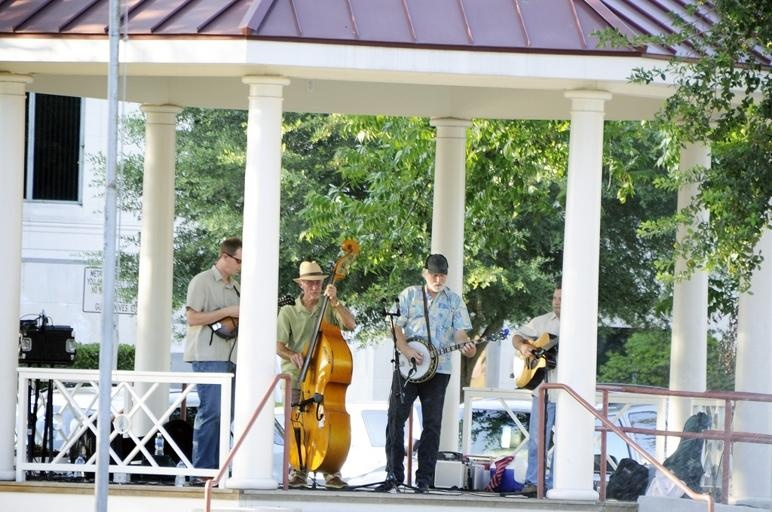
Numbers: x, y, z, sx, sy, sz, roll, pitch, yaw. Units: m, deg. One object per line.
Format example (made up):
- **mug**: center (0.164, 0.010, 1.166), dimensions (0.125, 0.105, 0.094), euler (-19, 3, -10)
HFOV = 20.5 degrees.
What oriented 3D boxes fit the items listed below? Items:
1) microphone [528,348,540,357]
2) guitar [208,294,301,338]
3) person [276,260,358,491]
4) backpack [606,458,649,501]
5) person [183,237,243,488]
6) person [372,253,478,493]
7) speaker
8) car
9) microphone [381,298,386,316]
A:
- **microphone**: center (2.009, 1.237, 28.491), dimensions (0.128, 0.100, 0.042), euler (0, -2, 31)
- **guitar**: center (-1.729, 0.747, 27.713), dimensions (0.554, 0.431, 0.808), euler (4, 15, 37)
- **person**: center (-0.960, 1.496, 28.045), dimensions (1.016, 3.036, 0.846), euler (-1, -15, 22)
- **backpack**: center (3.213, 2.865, 28.267), dimensions (0.569, 0.522, 0.280), euler (1, -2, 6)
- **person**: center (-2.236, 1.307, 27.958), dimensions (0.750, 3.177, 0.731), euler (1, -2, 7)
- **person**: center (0.595, 1.500, 27.897), dimensions (1.125, 3.103, 1.080), euler (5, -8, 5)
- **speaker**: center (-6.133, -2.000, 40.037), dimensions (0.964, 1.896, 0.358), euler (1, -2, -9)
- **car**: center (0.867, 2.282, 28.890), dimensions (7.825, 2.017, 2.982), euler (-2, -1, -1)
- **microphone**: center (-0.017, 0.626, 28.478), dimensions (0.075, 0.276, 0.089), euler (-5, -1, 8)
